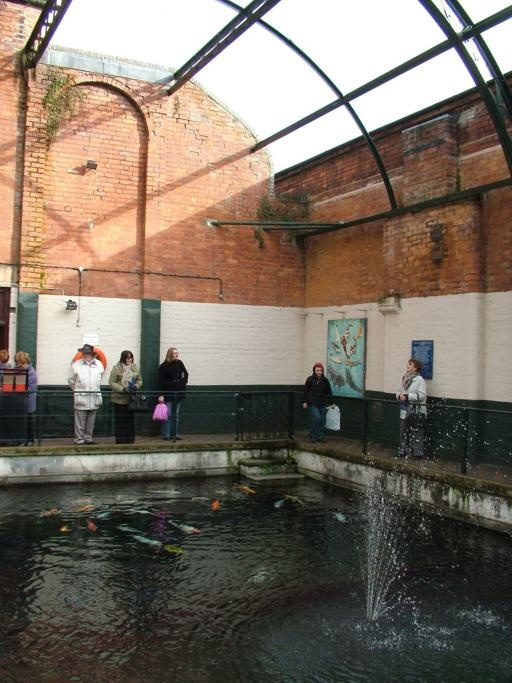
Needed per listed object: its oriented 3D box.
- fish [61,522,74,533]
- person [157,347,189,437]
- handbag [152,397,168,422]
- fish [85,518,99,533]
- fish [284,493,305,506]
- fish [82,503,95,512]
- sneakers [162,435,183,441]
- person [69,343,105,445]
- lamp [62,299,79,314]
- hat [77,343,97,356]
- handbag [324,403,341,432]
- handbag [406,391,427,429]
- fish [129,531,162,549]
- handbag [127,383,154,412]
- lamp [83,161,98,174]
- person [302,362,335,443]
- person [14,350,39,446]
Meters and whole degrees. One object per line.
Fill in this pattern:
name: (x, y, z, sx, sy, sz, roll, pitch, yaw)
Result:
fish: (-2.104, 2.096, 6.805, 0.061, 0.059, 0.099, -2, 8, 36)
person: (-1.499, 0.899, 10.923, 0.519, 1.105, 1.322, 2, -1, -7)
handbag: (-1.599, 1.152, 10.350, 0.257, 0.281, 0.160, 2, -1, -9)
fish: (-1.843, 2.078, 6.889, 0.079, 0.095, 0.241, 3, 14, -29)
fish: (0.541, 2.228, 8.555, 0.269, 0.115, 0.084, 26, 6, 40)
fish: (-2.110, 2.107, 7.704, 0.199, 0.081, 0.056, -2, 7, -30)
sneakers: (-1.410, 1.631, 10.322, 0.324, 0.120, 0.099, 5, -2, -4)
person: (-2.801, 0.850, 10.029, 0.527, 1.232, 0.771, 3, -1, -16)
lamp: (-3.410, -0.662, 11.251, 0.302, 0.250, 0.209, 1, 7, -7)
hat: (-2.881, 0.177, 10.435, 0.269, 0.115, 0.373, 5, 12, -8)
handbag: (1.322, 1.321, 10.454, 0.121, 0.467, 0.498, 3, -1, -15)
handbag: (2.273, 1.049, 8.647, 0.109, 0.375, 0.420, 3, -1, -23)
fish: (-1.159, 2.127, 6.462, 0.320, 0.105, 0.112, 13, -3, 36)
handbag: (-1.925, 0.971, 10.290, 0.299, 0.329, 0.626, 2, -1, 19)
lamp: (-3.082, -3.310, 11.442, 0.263, 0.225, 0.241, 2, 21, -5)
person: (1.099, 1.085, 10.996, 0.504, 1.367, 1.012, 2, -1, 4)
person: (-3.639, 0.876, 9.636, 0.341, 1.179, 0.705, 3, -1, -22)
